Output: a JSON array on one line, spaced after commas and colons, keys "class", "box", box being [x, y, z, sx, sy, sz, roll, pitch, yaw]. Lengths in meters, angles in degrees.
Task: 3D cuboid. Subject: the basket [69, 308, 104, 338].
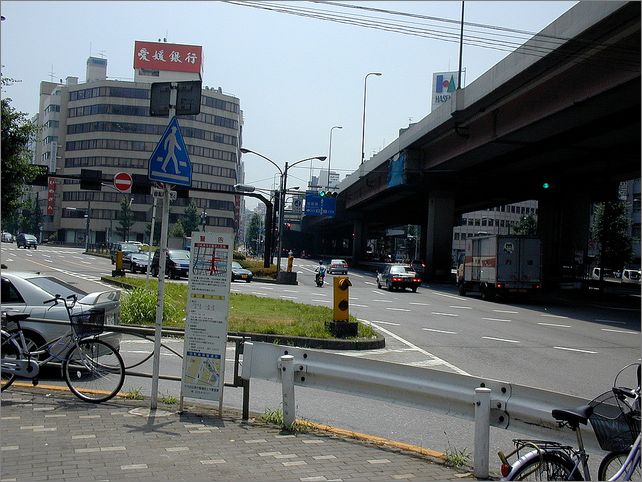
[{"class": "basket", "box": [-3.555, 1.251, 9.846, 0.334, 0.344, 0.434, 1, -10, -27]}]

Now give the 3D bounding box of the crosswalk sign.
[{"class": "crosswalk sign", "box": [-2.202, -1.346, 9.483, 0.632, 1.003, 0.015, 7, -7, -29]}]

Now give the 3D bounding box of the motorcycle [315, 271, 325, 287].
[{"class": "motorcycle", "box": [-0.121, 2.322, 39.481, 0.459, 0.631, 1.171, 4, -3, -3]}]

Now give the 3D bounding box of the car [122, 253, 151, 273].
[{"class": "car", "box": [-10.634, 1.228, 37.097, 0.996, 0.829, 2.243, 2, -6, -27]}]

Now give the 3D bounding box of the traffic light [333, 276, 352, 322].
[{"class": "traffic light", "box": [0.524, 1.400, 15.517, 0.492, 1.094, 0.430, 1, -2, 10]}]

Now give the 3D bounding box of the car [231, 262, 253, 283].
[{"class": "car", "box": [-4.823, 1.863, 38.874, 1.080, 1.004, 3.120, 5, -3, -7]}]

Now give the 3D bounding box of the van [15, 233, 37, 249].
[{"class": "van", "box": [-31.450, -0.049, 69.542, 1.677, 1.814, 3.071, 3, -6, -39]}]

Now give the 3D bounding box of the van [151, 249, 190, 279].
[{"class": "van", "box": [-6.894, 1.100, 29.661, 1.294, 1.256, 2.105, 4, -7, -38]}]

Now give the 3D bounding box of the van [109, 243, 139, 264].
[{"class": "van", "box": [-12.320, 0.763, 40.506, 1.247, 1.266, 2.069, 2, -4, -34]}]

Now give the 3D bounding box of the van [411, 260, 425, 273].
[{"class": "van", "box": [9.622, 2.429, 64.362, 1.261, 1.234, 3.080, 2, 6, 13]}]

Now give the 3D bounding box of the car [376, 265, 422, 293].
[{"class": "car", "box": [4.476, 2.122, 37.174, 1.512, 1.002, 3.523, 5, -3, -11]}]
